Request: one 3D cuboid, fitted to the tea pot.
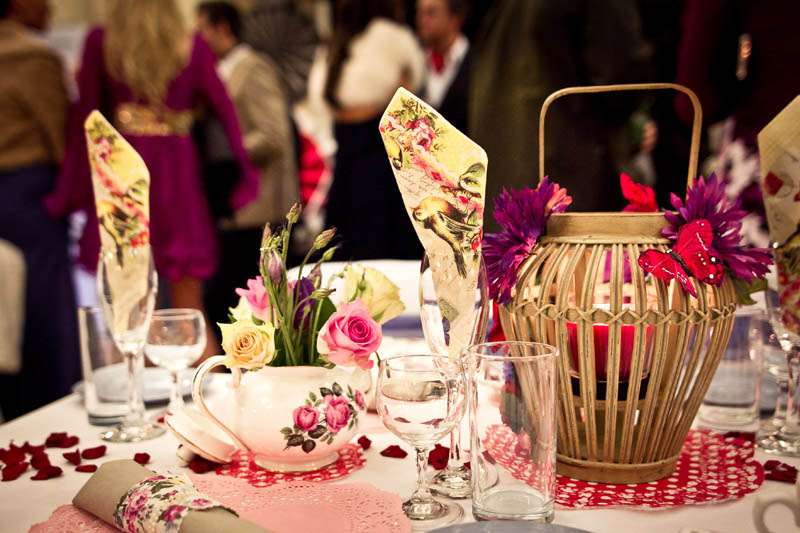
[{"bbox_3d":[-0.236,0.273,1.658,0.295,0.188,0.225,0,-2,-13],"label":"tea pot"}]

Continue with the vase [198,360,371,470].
[{"bbox_3d":[-0.227,0.275,1.658,0.284,0.182,0.220,0,-2,-11],"label":"vase"}]

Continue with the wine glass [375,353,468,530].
[{"bbox_3d":[0.060,0.312,1.571,0.160,0.294,0.181,9,15,38],"label":"wine glass"}]

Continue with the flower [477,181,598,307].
[{"bbox_3d":[0.282,-0.037,1.728,0.114,0.224,0.213,23,-10,-30],"label":"flower"}]

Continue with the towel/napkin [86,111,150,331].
[{"bbox_3d":[-0.613,-0.108,1.870,0.120,0.467,0.171,-4,12,-20],"label":"towel/napkin"}]

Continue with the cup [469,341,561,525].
[{"bbox_3d":[0.195,0.306,1.511,0.156,0.294,0.084,1,12,3],"label":"cup"}]

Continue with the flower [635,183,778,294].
[{"bbox_3d":[0.579,-0.028,1.692,0.228,0.225,0.103,10,-3,-2],"label":"flower"}]

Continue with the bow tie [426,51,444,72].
[{"bbox_3d":[0.147,-0.834,3.427,0.061,0.077,0.026,-2,-11,19],"label":"bow tie"}]
